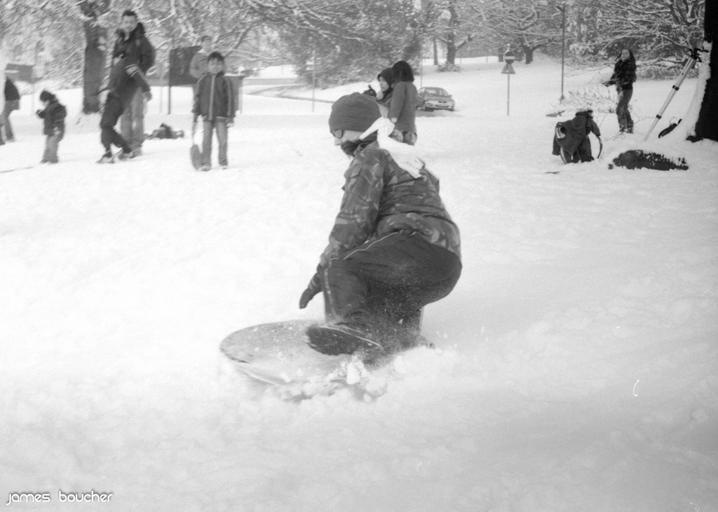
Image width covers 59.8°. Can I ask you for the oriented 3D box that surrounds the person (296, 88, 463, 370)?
[{"bbox_3d":[0.101,-0.142,3.086,0.810,1.237,0.687,-3,18,-7],"label":"person"}]

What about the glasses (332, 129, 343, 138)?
[{"bbox_3d":[-0.113,-0.621,3.172,0.041,0.036,0.032,28,22,35],"label":"glasses"}]

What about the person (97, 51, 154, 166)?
[{"bbox_3d":[-2.449,-1.534,6.423,0.579,1.117,0.325,-8,19,-21],"label":"person"}]

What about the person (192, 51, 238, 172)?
[{"bbox_3d":[-1.497,-1.457,6.327,0.468,1.136,0.355,-5,18,-14],"label":"person"}]
